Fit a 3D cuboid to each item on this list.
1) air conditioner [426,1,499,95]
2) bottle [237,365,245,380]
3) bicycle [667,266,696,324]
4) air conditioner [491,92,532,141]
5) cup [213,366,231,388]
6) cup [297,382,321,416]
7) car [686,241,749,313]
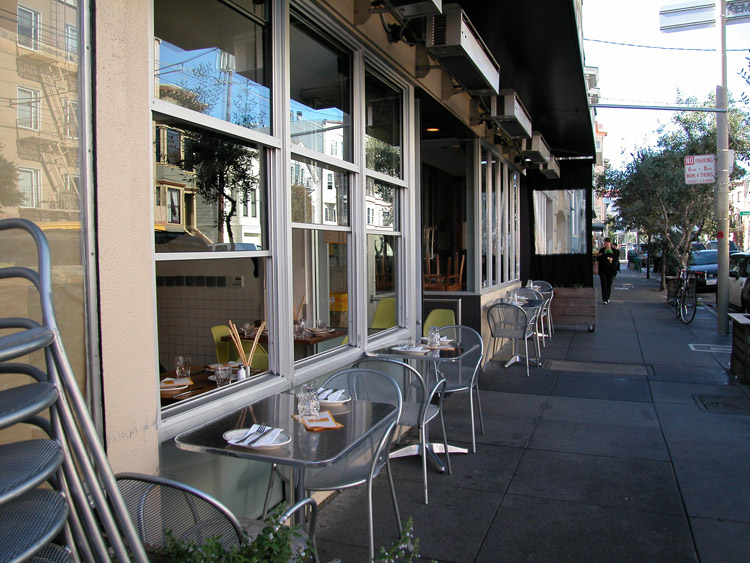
[{"bbox_3d":[0.736,-1.957,5.066,0.283,0.362,1.192,8,7,23],"label":"air conditioner"},{"bbox_3d":[-0.810,0.540,3.642,0.056,0.110,0.059,1,-1,0],"label":"bottle"},{"bbox_3d":[7.067,0.226,13.806,0.615,0.719,4.278,9,7,26],"label":"bicycle"},{"bbox_3d":[1.676,-2.113,7.408,0.282,0.443,1.027,8,7,23],"label":"air conditioner"},{"bbox_3d":[-0.929,0.566,3.632,0.103,0.133,0.110,0,-9,0],"label":"cup"},{"bbox_3d":[-0.354,0.645,3.276,0.132,0.205,0.141,0,-8,0],"label":"cup"},{"bbox_3d":[8.121,-0.070,14.334,1.574,1.653,3.047,-1,-6,24],"label":"car"}]
